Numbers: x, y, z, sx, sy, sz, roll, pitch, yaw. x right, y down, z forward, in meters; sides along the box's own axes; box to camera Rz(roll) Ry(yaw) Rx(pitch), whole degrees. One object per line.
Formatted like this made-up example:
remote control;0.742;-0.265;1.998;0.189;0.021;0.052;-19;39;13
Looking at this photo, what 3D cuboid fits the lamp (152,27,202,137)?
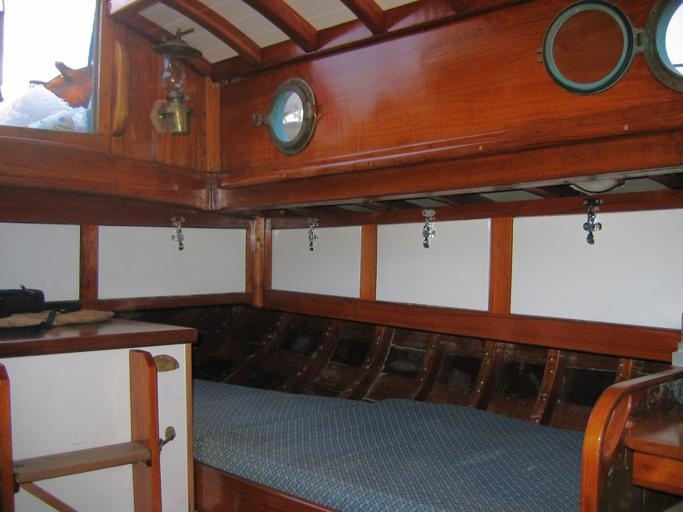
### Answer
lamp;-0.988;-1.032;2.903;0.296;0.614;0.551;-3;5;-19
